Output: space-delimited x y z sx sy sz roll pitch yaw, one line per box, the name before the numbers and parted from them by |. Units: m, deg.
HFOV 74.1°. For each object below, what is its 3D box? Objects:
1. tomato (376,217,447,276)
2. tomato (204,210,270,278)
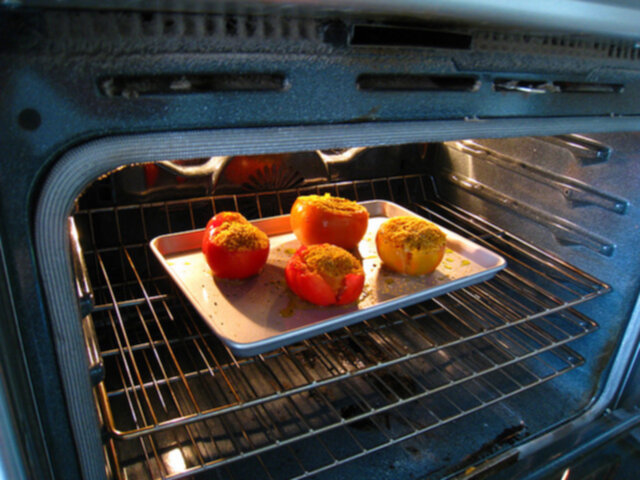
tomato | 0.198 0.008 0.937 0.165 0.133 0.091 -10 -53 -13
tomato | -0.165 0.011 0.889 0.154 0.136 0.085 -2 -57 -20
